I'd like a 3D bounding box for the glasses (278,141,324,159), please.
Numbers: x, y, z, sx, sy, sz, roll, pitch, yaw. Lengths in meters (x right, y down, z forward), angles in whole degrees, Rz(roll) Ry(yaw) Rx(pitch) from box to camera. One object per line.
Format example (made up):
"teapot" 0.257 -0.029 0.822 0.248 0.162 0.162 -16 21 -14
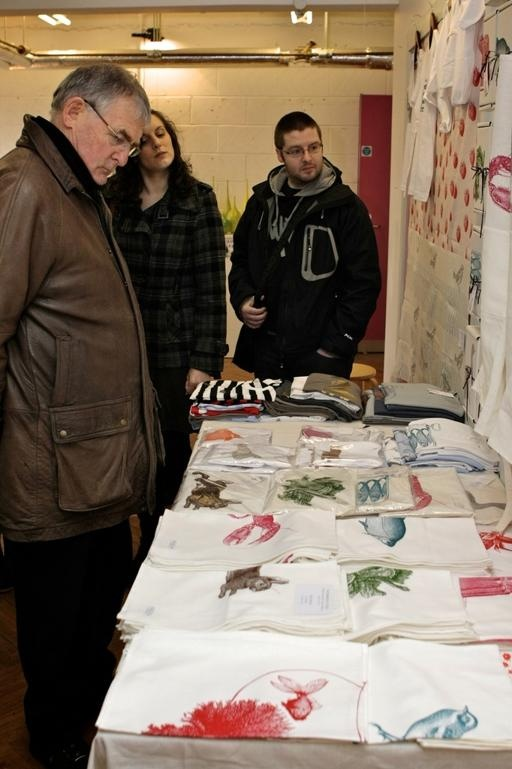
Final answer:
"glasses" 0.186 -0.995 2.473 0.182 0.067 0.165 4 15 6

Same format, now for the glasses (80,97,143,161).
"glasses" -0.314 -0.586 1.307 0.024 0.083 0.080 -32 -15 12

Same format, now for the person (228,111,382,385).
"person" 0.201 -0.350 2.746 0.669 1.668 0.516 8 26 21

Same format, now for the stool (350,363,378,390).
"stool" 0.708 -0.048 3.795 0.178 0.177 0.172 -3 24 1
